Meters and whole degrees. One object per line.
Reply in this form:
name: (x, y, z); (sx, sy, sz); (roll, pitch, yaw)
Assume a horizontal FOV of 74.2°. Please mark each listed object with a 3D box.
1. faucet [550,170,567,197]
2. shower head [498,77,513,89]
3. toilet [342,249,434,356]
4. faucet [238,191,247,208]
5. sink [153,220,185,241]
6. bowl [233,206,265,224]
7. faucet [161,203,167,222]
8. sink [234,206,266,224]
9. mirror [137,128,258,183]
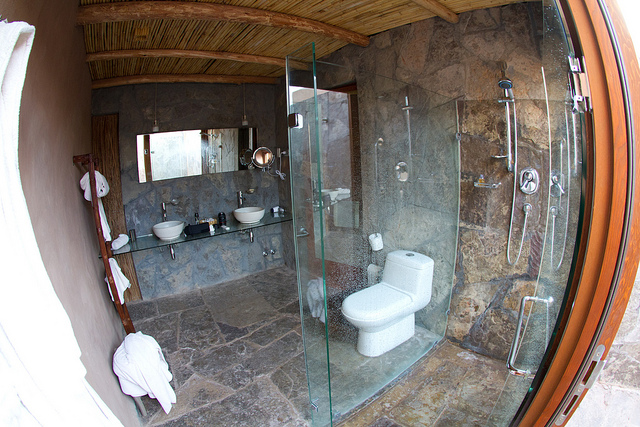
faucet: (1.023, -0.136, 1.835); (0.036, 0.116, 0.117); (1, 6, 22)
shower head: (1.290, -0.916, 2.938); (0.092, 0.087, 0.135); (0, 13, 22)
toilet: (0.479, 0.702, 3.180); (0.737, 0.664, 0.415); (-15, 21, -39)
faucet: (-0.963, -0.173, 5.202); (0.043, 0.201, 0.125); (2, 13, 28)
sink: (-1.573, 0.188, 4.361); (0.253, 0.122, 0.227); (-5, 5, -10)
bowl: (-0.842, 0.023, 4.897); (0.242, 0.107, 0.245); (-4, 9, 1)
faucet: (-1.734, -0.007, 4.705); (0.058, 0.208, 0.043); (-14, 15, -39)
sink: (-0.839, 0.026, 5.003); (0.343, 0.168, 0.455); (-7, 12, -12)
mirror: (-1.325, -0.720, 4.856); (1.522, 0.020, 0.686); (-7, 57, -15)
